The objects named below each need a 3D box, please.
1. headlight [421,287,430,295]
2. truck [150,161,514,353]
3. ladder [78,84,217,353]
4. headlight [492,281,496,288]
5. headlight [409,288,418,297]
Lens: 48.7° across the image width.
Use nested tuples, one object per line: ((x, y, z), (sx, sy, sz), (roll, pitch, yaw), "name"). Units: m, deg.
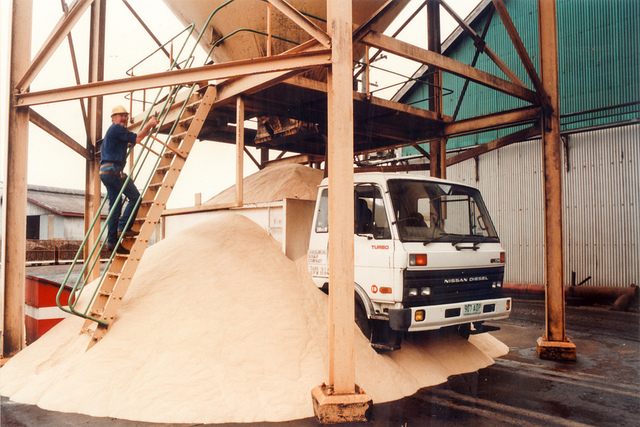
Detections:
((2.542, 1.877, 17.123), (0.153, 0.185, 0.045), (0, -6, -10), "headlight")
((0.695, 1.046, 20.278), (8.790, 4.276, 4.634), (-6, -7, 43), "truck")
((-4.461, 0.357, 18.166), (1.001, 7.194, 0.861), (10, -9, 30), "ladder")
((4.407, 1.803, 17.975), (0.108, 0.160, 0.030), (-2, 8, -24), "headlight")
((2.235, 1.889, 17.026), (0.232, 0.259, 0.139), (-1, 2, -4), "headlight")
